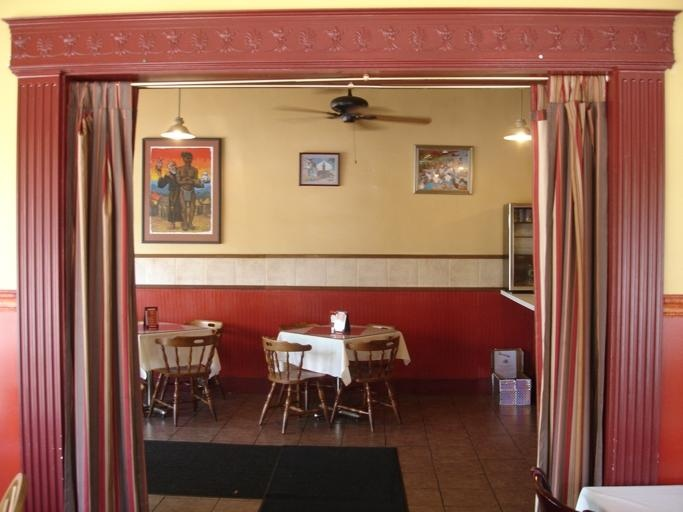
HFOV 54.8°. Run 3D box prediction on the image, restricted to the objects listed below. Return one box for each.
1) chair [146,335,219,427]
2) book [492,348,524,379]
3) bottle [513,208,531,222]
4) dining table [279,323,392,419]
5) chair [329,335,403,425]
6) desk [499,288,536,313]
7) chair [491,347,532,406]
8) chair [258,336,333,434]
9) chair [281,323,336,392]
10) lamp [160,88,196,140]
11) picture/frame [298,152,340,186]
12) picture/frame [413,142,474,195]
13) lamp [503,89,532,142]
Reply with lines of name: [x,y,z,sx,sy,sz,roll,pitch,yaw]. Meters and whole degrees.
chair: [-1.492,1.160,6.277,0.572,0.776,0.587,-2,-3,43]
book: [1.742,1.125,6.862,0.299,0.288,0.284,-2,2,9]
bottle: [1.902,-0.416,6.893,0.166,0.156,0.109,0,-1,8]
dining table: [0.132,0.972,6.196,1.026,0.748,0.868,2,4,41]
chair: [0.240,1.192,6.196,0.598,0.766,0.613,-2,-5,22]
desk: [1.759,0.460,6.490,0.315,0.179,1.080,2,8,10]
chair: [1.748,1.237,6.720,0.408,0.488,0.485,2,8,11]
chair: [-0.425,1.186,6.163,0.650,0.787,0.677,0,-2,6]
chair: [-0.167,0.881,6.038,0.563,0.270,0.565,9,15,35]
lamp: [-1.533,-1.367,6.181,0.361,0.493,0.355,0,7,-27]
picture/frame: [-0.229,-0.938,7.109,0.374,0.302,0.035,1,7,2]
picture/frame: [1.099,-0.953,7.096,0.580,0.471,0.046,0,3,2]
lamp: [1.758,-1.392,6.402,0.276,0.455,0.268,-6,15,-15]
